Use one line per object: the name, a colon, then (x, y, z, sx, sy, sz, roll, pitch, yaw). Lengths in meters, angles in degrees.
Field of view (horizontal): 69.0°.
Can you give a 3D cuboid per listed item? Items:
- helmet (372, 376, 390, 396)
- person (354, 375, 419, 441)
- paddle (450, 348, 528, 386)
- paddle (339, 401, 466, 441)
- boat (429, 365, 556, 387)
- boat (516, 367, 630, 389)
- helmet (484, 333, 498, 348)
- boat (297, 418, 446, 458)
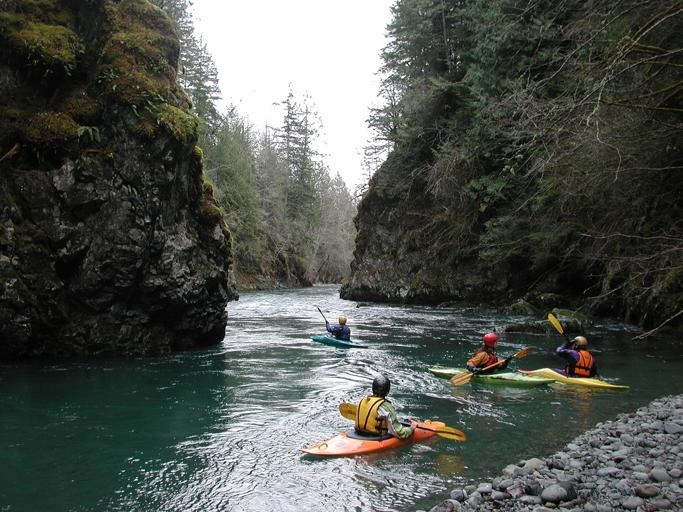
helmet: (0.705, 2.224, 8.678, 0.285, 0.369, 0.370, 4, 8, 10)
person: (0.729, 2.613, 8.879, 0.883, 1.069, 1.171, 0, -5, 43)
paddle: (3.714, 2.791, 12.452, 2.428, 0.310, 0.123, -19, 5, -25)
paddle: (0.993, 2.948, 8.569, 2.661, 0.571, 0.794, 8, -10, -9)
boat: (3.608, 2.897, 12.002, 2.072, 0.280, 0.423, 2, 1, 10)
boat: (5.527, 2.897, 11.816, 1.626, 0.231, 0.343, 5, -3, 26)
helmet: (3.613, 2.022, 12.109, 0.369, 0.336, 0.271, -9, 9, -10)
boat: (0.632, 3.131, 8.496, 2.693, 0.432, 0.795, 6, -10, -28)
